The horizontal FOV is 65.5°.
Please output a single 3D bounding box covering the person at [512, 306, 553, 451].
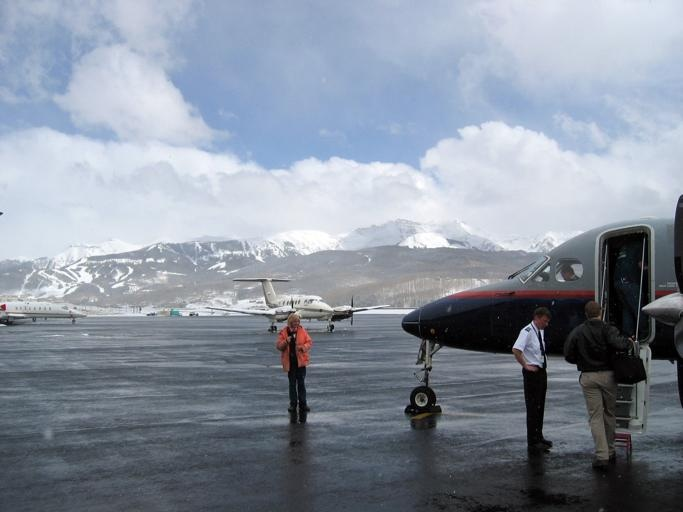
[{"bbox_3d":[3.653,2.293,10.047,0.759,1.925,0.672,-6,-4,0],"label":"person"}]
